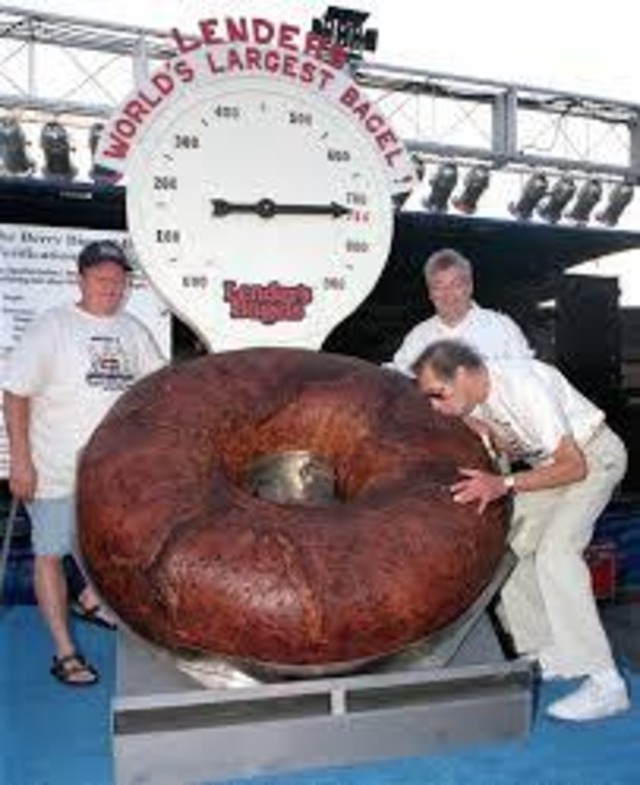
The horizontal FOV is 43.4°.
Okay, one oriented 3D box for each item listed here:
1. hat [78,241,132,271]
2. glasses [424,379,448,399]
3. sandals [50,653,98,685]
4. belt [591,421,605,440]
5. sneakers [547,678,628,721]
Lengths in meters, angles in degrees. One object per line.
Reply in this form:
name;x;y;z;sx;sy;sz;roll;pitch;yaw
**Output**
hat;-0.785;-0.486;2.846;0.128;0.074;0.166;-2;-2;-42
glasses;0.305;-0.005;2.124;0.054;0.048;0.017;3;-14;40
sandals;-0.803;0.910;2.661;0.086;0.058;0.169;8;-11;-35
belt;0.869;0.121;2.507;0.012;0.048;0.052;50;33;4
sneakers;0.791;0.896;2.390;0.284;0.108;0.095;-2;5;-9
